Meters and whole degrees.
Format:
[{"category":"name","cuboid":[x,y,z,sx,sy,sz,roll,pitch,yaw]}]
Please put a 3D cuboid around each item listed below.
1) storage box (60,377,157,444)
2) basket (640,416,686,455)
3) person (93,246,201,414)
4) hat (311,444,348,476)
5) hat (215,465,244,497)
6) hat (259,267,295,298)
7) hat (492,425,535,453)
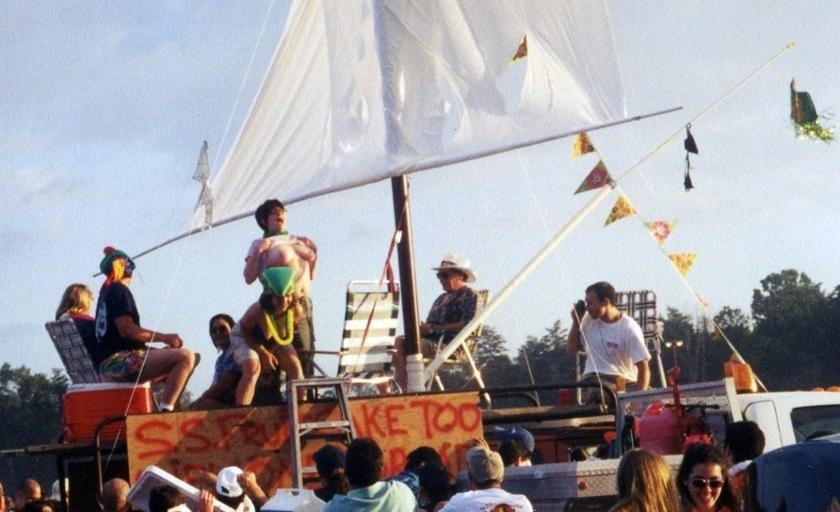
[{"category":"storage box","cuboid":[-3.791,2.083,11.118,0.972,0.758,0.800,-1,-28,-13]},{"category":"basket","cuboid":[2.636,1.933,10.068,0.458,0.537,0.515,0,-20,5]},{"category":"person","cuboid":[-3.352,1.091,11.334,1.196,2.429,1.016,4,-24,-32]},{"category":"hat","cuboid":[-0.900,2.046,9.241,0.237,0.310,0.363,0,-16,-12]},{"category":"hat","cuboid":[-1.977,2.341,9.530,0.268,0.305,0.203,-1,-13,-17]},{"category":"hat","cuboid":[-1.731,0.330,10.992,0.453,0.346,0.219,-8,-13,12]},{"category":"hat","cuboid":[1.080,2.077,10.812,0.410,0.253,0.418,16,-4,-14]}]
